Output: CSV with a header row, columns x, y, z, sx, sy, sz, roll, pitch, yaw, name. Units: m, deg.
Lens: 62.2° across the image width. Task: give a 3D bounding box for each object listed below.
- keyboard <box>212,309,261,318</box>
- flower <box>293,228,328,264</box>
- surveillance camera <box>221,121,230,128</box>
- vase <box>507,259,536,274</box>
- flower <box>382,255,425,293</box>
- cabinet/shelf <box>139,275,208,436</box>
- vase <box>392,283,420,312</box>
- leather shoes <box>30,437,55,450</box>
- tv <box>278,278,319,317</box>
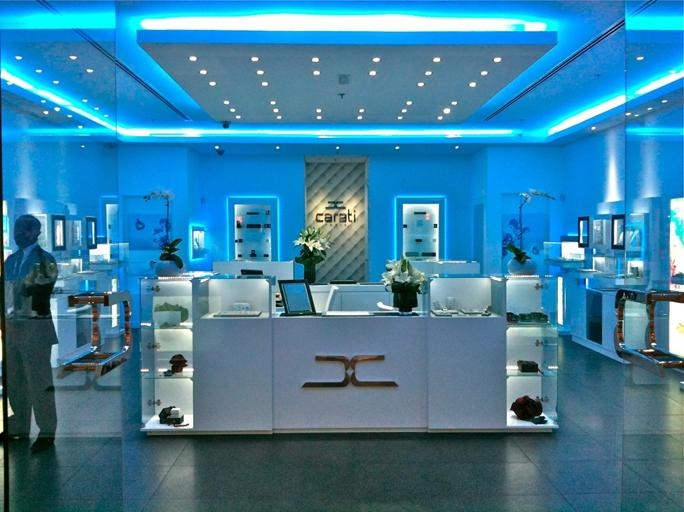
x,y,z,sx,sy,sz,roll,pitch,yaw,name
-1.058,0.569,5.775,0.502,0.051,0.143,0,15,0,keyboard
-0.374,-0.131,7.393,0.395,0.527,0.812,-2,15,-4,flower
-2.027,-2.330,9.984,0.122,0.126,0.873,-3,15,-10,surveillance camera
1.892,0.115,5.890,0.201,0.109,0.187,2,-1,-1,vase
0.670,0.180,5.826,0.384,0.263,0.381,7,0,21,flower
-1.690,0.954,5.751,0.674,1.469,0.588,-1,15,-3,cabinet/shelf
0.655,0.396,5.771,0.292,0.311,0.287,1,6,9,vase
-1.985,1.246,3.765,0.124,0.113,0.072,0,3,-6,leather shoes
-0.463,0.406,5.863,0.349,0.331,0.321,-4,15,-12,tv
